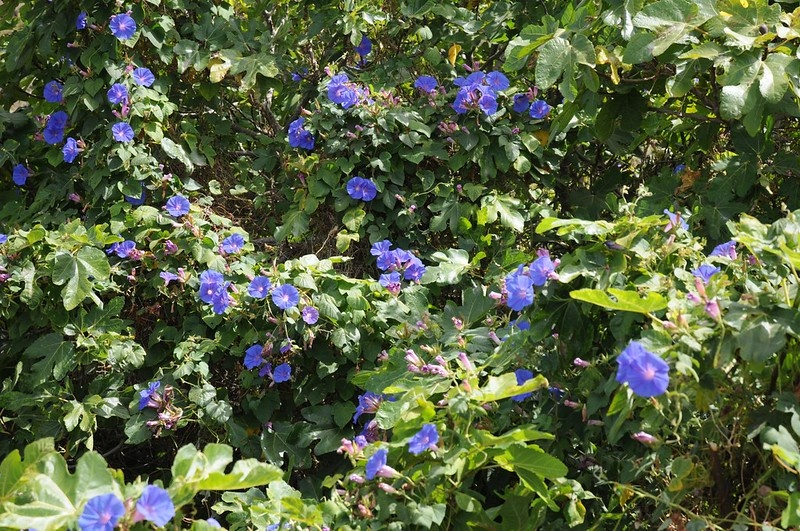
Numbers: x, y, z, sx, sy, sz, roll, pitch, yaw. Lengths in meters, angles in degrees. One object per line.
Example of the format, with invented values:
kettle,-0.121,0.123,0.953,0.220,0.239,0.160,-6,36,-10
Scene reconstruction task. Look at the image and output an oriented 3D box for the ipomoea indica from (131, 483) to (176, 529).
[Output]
ipomoea indica,-0.940,0.934,2.959,0.160,0.191,0.112,21,39,11
